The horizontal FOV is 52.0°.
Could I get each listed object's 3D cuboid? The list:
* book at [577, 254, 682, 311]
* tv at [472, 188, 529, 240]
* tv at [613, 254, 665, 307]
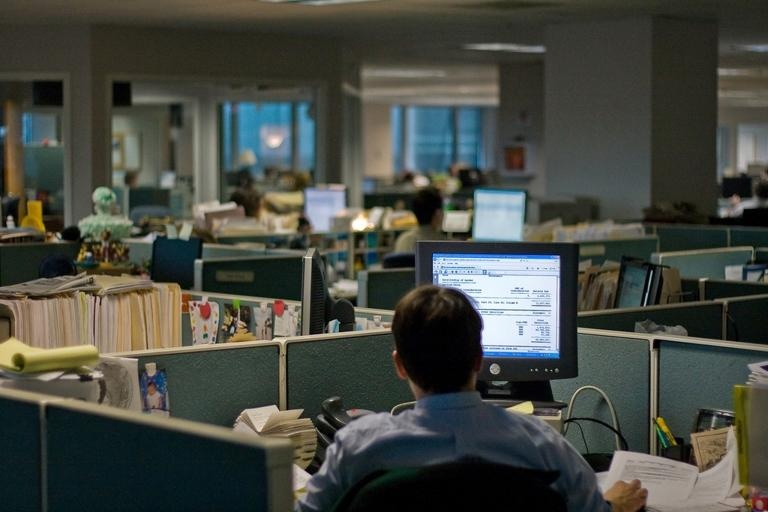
[{"bbox_3d":[1.084,0.125,3.430,0.371,0.120,0.276,-3,7,-7],"label":"book"},{"bbox_3d":[0.853,-0.314,6.003,0.408,0.372,0.400,1,3,-3],"label":"tv"},{"bbox_3d":[1.090,0.114,3.380,0.083,0.219,0.230,7,-1,-10],"label":"tv"}]
